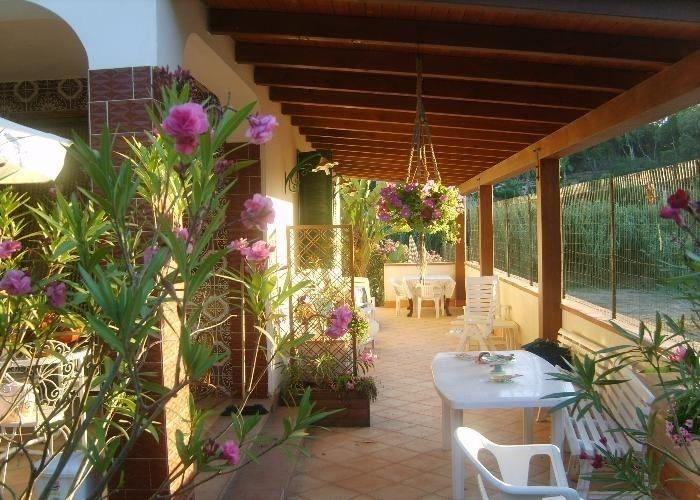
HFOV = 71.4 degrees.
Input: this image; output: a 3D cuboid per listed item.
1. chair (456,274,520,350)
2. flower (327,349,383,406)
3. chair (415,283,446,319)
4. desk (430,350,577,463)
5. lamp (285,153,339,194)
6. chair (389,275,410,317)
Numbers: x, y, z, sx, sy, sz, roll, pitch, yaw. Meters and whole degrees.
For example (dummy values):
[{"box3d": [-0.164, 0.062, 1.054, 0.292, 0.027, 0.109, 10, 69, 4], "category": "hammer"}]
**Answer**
[{"box3d": [2.294, 1.231, 8.661, 0.907, 1.197, 1.018, -9, -19, 8], "category": "chair"}, {"box3d": [0.097, 1.677, 6.060, 0.665, 0.361, 0.673, -10, 8, 1], "category": "flower"}, {"box3d": [2.105, 1.289, 12.893, 0.768, 0.962, 1.627, -1, 2, 9], "category": "chair"}, {"box3d": [1.223, 1.438, 4.041, 1.012, 0.486, 0.517, 0, 3, -13], "category": "desk"}, {"box3d": [-0.587, -1.205, 7.520, 0.756, 0.625, 0.437, -1, -2, 12], "category": "lamp"}, {"box3d": [1.274, 1.311, 13.860, 0.849, 1.121, 0.907, -1, 6, 7], "category": "chair"}]
